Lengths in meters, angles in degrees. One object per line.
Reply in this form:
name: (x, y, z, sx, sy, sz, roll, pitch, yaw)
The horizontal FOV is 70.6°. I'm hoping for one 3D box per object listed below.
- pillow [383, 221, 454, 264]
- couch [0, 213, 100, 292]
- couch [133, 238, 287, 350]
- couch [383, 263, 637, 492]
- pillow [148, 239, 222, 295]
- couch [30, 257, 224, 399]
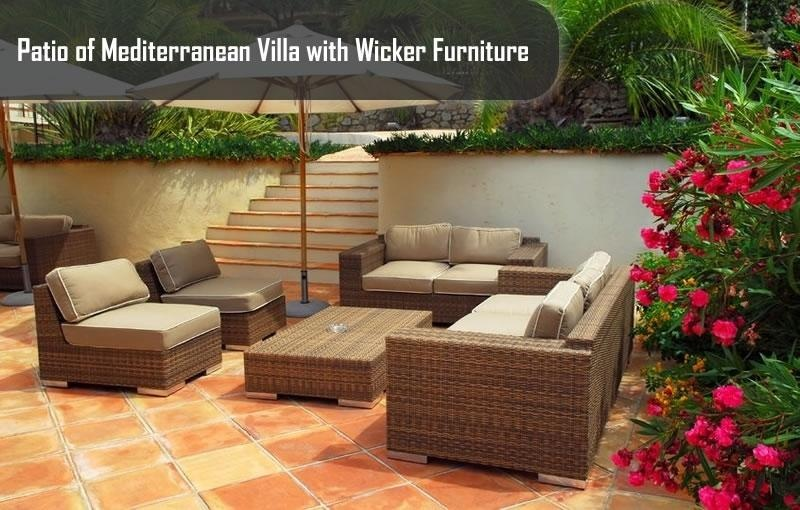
pillow: (0.227, -0.133, 7.006, 0.678, 0.350, 0.196, 0, -11, 6)
couch: (-5.419, -0.131, 8.477, 1.871, 1.081, 1.156, 1, 5, 8)
couch: (-1.909, 0.432, 6.225, 1.400, 1.019, 1.231, 3, 11, 9)
couch: (1.102, 0.899, 4.857, 1.559, 0.870, 2.577, 1, 3, 30)
pillow: (-2.362, 0.147, 6.236, 0.288, 0.418, 0.803, -11, 2, 29)
couch: (-2.516, 0.620, 5.281, 1.410, 0.923, 1.058, 7, 13, 21)
